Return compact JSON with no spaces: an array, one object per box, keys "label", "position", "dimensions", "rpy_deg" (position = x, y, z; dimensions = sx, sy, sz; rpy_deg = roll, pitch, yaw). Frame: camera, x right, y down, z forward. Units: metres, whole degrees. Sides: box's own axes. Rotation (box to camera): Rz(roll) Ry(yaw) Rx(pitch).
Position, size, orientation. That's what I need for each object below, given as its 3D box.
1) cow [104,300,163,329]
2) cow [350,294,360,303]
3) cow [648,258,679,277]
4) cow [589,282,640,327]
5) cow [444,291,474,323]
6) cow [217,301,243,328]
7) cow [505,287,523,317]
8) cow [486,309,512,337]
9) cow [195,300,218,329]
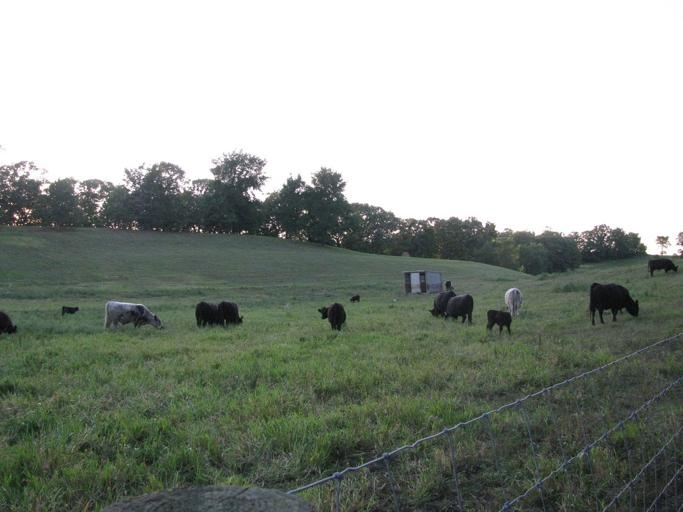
[{"label":"cow","position":[-8.669,2.408,23.882],"dimensions":[2.026,1.147,1.844],"rpy_deg":[-2,3,-24]},{"label":"cow","position":[0.902,2.782,37.723],"dimensions":[0.258,0.439,0.784],"rpy_deg":[-9,-13,42]},{"label":"cow","position":[19.438,0.630,35.263],"dimensions":[1.495,0.853,3.842],"rpy_deg":[0,3,28]},{"label":"cow","position":[9.786,1.669,21.267],"dimensions":[1.952,1.305,1.412],"rpy_deg":[-2,3,-22]},{"label":"cow","position":[4.869,2.099,23.569],"dimensions":[0.796,1.159,1.908],"rpy_deg":[-1,3,-9]},{"label":"cow","position":[-4.747,2.407,24.788],"dimensions":[1.072,0.954,1.466],"rpy_deg":[-2,3,-15]},{"label":"cow","position":[7.512,2.036,25.383],"dimensions":[0.624,1.170,1.997],"rpy_deg":[1,9,11]},{"label":"cow","position":[5.401,2.211,19.936],"dimensions":[0.770,0.742,1.479],"rpy_deg":[0,3,14]},{"label":"cow","position":[-5.649,2.418,24.394],"dimensions":[0.896,0.939,0.754],"rpy_deg":[-2,3,-16]}]
